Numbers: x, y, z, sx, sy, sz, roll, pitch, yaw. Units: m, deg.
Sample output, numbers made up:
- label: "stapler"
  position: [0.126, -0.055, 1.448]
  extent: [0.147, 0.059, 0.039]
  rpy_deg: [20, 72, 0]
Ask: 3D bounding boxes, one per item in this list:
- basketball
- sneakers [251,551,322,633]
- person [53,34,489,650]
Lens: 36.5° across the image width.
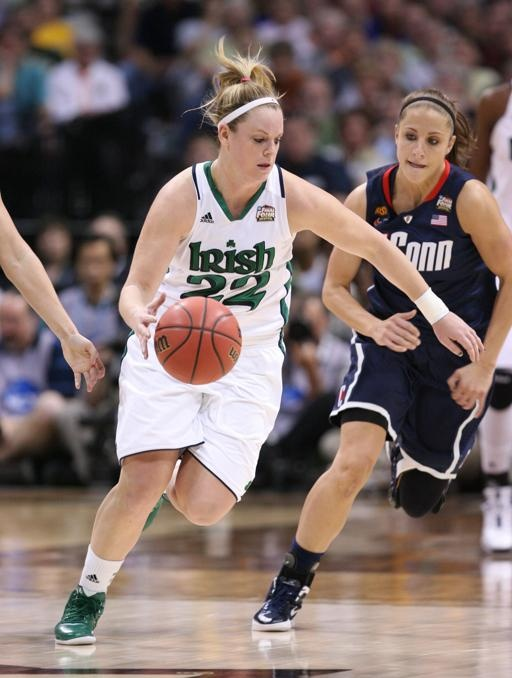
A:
- label: "basketball"
  position: [-0.106, 0.009, 2.322]
  extent: [0.292, 0.255, 0.254]
  rpy_deg: [5, -2, 2]
- label: "sneakers"
  position: [0.146, 0.800, 2.506]
  extent: [0.115, 0.148, 0.360]
  rpy_deg: [35, 27, 5]
- label: "person"
  position: [-0.261, -0.074, 2.449]
  extent: [1.099, 1.459, 0.915]
  rpy_deg: [-19, 42, -33]
